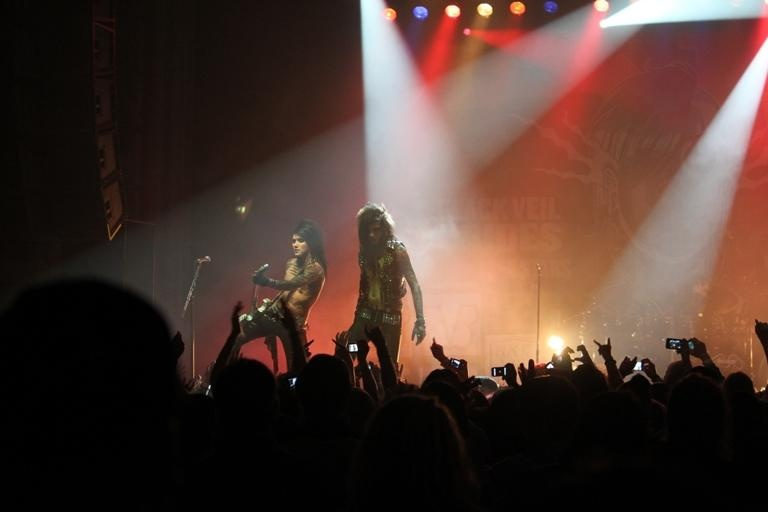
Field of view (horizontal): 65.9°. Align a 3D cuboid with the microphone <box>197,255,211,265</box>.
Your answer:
[{"bbox_3d":[-2.779,0.066,9.175,0.121,0.113,0.122,-4,6,-28],"label":"microphone"}]

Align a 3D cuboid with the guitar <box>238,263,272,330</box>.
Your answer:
[{"bbox_3d":[-1.789,0.603,8.273,0.227,0.363,0.860,36,-30,22],"label":"guitar"}]
